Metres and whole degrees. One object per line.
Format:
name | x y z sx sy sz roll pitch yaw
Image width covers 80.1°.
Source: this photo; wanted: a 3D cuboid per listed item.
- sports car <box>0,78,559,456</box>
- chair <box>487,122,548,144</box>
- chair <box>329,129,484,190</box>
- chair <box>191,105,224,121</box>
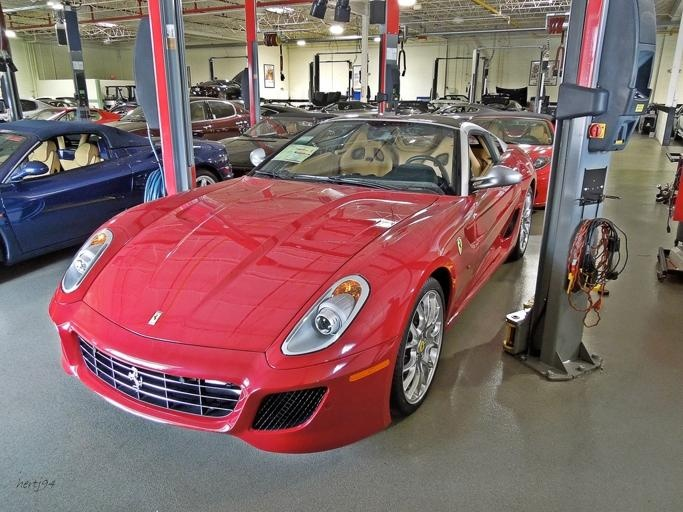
sports car | 0.036 -0.194 2.911 1.997 1.555 3.399 14 24 34
chair | 2.449 -1.725 5.640 0.839 0.358 1.255 4 20 23
chair | 0.417 -0.735 2.904 0.594 0.252 0.935 15 16 36
chair | -2.847 -3.076 8.586 0.383 0.156 0.641 15 21 42
